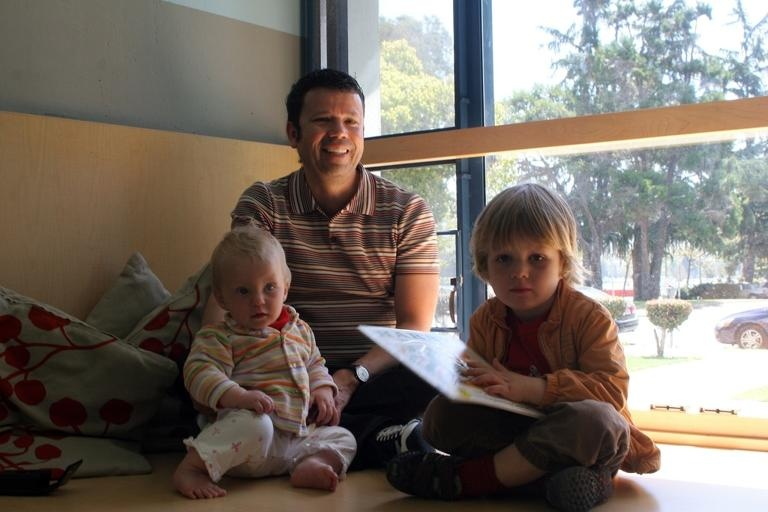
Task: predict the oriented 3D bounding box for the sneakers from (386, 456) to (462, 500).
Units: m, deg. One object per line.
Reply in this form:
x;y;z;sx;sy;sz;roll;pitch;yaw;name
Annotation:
0.109;0.634;1.767;0.261;0.097;0.136;12;-43;-46;sneakers

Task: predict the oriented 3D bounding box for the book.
0.217;0.361;1.813;0.601;0.063;0.449;25;0;-38;book

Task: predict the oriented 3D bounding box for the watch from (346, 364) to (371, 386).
-0.080;0.413;2.072;0.070;0.074;0.048;-26;1;37;watch

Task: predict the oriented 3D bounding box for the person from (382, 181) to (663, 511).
0.306;0.442;2.193;0.894;1.179;0.868;-17;-27;39;person
